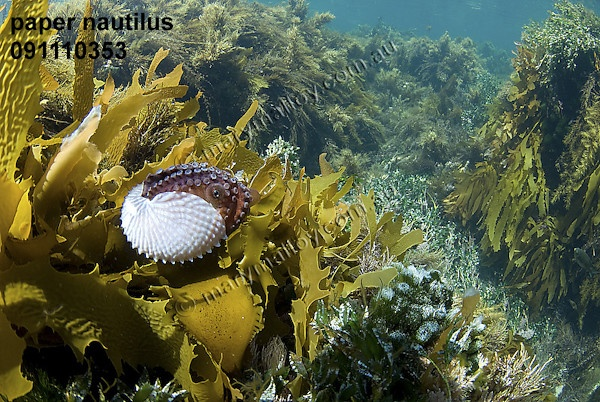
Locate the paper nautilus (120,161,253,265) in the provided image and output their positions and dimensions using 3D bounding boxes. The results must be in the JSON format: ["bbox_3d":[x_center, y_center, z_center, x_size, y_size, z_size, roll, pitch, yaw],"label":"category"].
[{"bbox_3d":[-0.469,0.055,2.678,0.398,0.205,0.421,-18,72,-9],"label":"paper nautilus"}]
